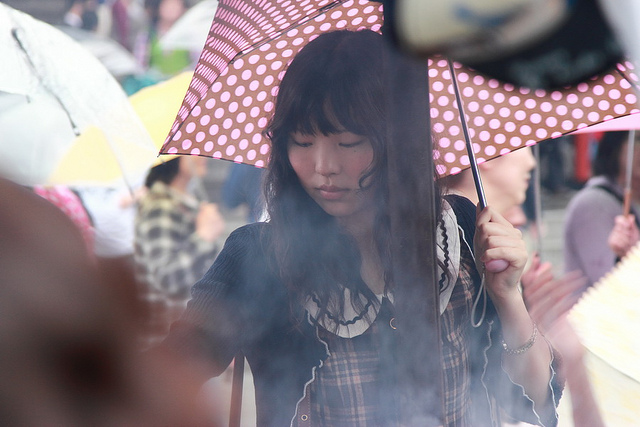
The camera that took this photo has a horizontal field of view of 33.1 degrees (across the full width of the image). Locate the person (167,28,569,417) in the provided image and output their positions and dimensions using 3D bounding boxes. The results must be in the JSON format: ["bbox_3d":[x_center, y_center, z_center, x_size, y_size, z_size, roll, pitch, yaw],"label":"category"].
[{"bbox_3d":[0.112,0.165,4.353,1.552,1.444,0.986,-14,34,-6],"label":"person"}]

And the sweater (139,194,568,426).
[{"bbox_3d":[0.057,0.505,4.438,1.471,0.810,0.610,-10,34,0],"label":"sweater"}]

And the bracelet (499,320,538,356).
[{"bbox_3d":[0.802,0.509,4.386,0.117,0.147,0.034,-3,8,13],"label":"bracelet"}]

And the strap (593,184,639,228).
[{"bbox_3d":[1.749,-0.070,6.401,0.060,0.249,0.238,-46,25,9],"label":"strap"}]

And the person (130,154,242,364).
[{"bbox_3d":[-0.949,0.267,7.063,0.450,1.429,0.345,21,47,26],"label":"person"}]

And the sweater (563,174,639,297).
[{"bbox_3d":[1.581,0.094,6.287,0.206,0.663,0.481,14,18,18],"label":"sweater"}]
